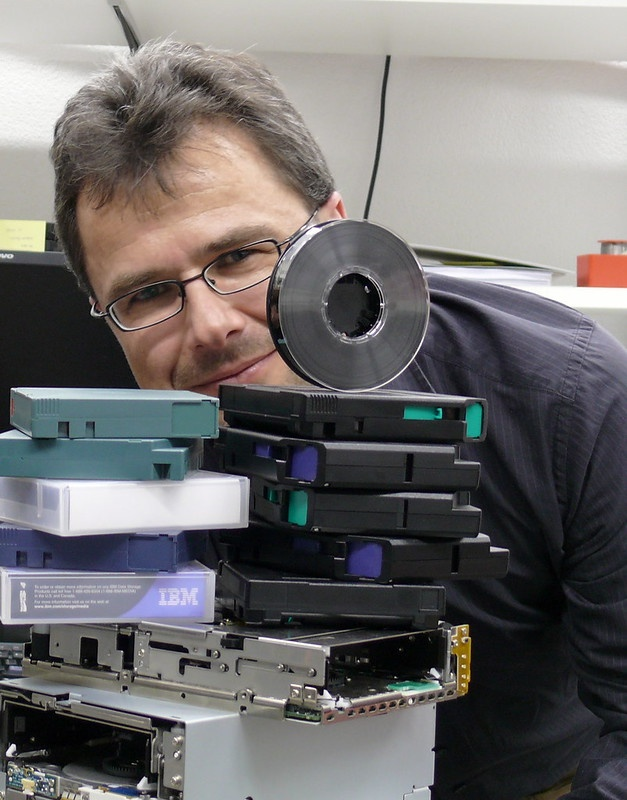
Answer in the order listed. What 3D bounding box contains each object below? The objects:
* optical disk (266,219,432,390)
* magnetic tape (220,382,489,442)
[{"bbox_3d":[0.028,-0.067,0.619,0.142,0.118,0.034,-5,9,-22],"label":"optical disk"},{"bbox_3d":[0.024,0.011,0.654,0.150,0.033,0.147,4,1,-26],"label":"magnetic tape"}]
